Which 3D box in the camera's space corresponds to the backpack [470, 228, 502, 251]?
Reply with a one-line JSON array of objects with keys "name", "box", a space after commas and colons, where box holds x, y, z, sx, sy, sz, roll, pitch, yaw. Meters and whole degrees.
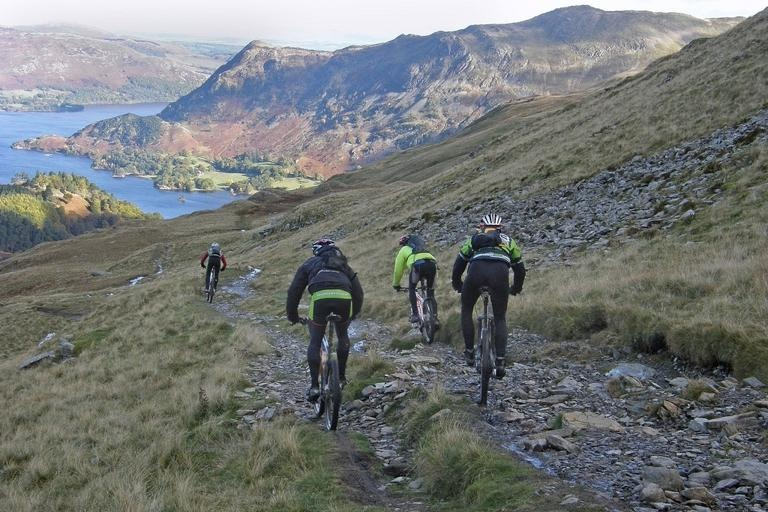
[{"name": "backpack", "box": [3.489, -0.571, 23.215, 0.675, 0.386, 0.881, -3, 5, -13]}]
